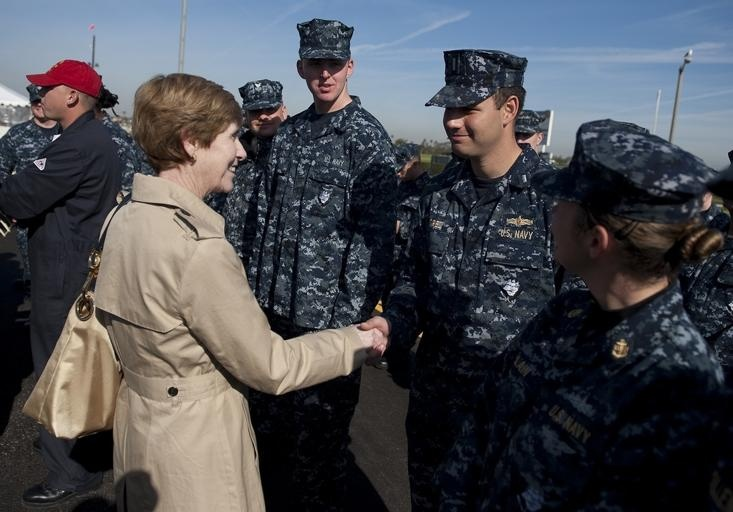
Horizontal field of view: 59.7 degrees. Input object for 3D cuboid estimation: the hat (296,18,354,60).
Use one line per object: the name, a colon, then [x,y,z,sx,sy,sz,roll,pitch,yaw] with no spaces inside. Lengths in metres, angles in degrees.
hat: [-0.275,-1.490,4.376,0.379,0.252,0.473,-8,24,-19]

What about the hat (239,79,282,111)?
hat: [-0.936,-1.493,5.741,0.393,0.192,0.517,-13,27,-5]

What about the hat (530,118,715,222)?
hat: [0.977,-0.361,2.441,0.661,0.226,0.485,15,35,20]
